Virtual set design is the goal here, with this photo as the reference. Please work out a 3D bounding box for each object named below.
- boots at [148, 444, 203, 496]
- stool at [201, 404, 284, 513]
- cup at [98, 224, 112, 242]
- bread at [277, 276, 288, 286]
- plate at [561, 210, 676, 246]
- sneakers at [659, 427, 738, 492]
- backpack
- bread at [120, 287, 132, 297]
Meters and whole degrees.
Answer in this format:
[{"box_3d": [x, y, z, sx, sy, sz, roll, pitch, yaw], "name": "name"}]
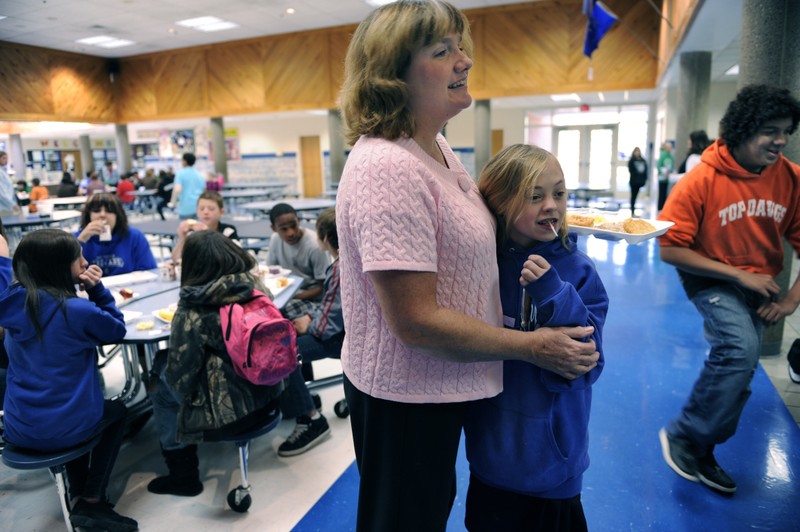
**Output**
[{"box_3d": [-1.411, 1.277, 3.539, 0.338, 0.312, 0.169, 3, 4, -6], "name": "boots"}, {"box_3d": [-0.915, 1.164, 3.603, 0.563, 0.598, 0.527, -3, 2, -16], "name": "stool"}, {"box_3d": [-2.356, -0.254, 4.479, 0.109, 0.132, 0.048, -3, -1, -13], "name": "cup"}, {"box_3d": [-0.882, 0.119, 4.219, 0.079, 0.053, 0.061, 0, -1, 12], "name": "bread"}, {"box_3d": [1.118, -0.199, 2.901, 0.472, 0.068, 0.330, 7, 12, 32], "name": "plate"}, {"box_3d": [1.719, 1.166, 3.363, 0.489, 0.207, 0.166, 26, 11, 12], "name": "sneakers"}, {"box_3d": [-0.811, 0.418, 3.215, 0.390, 0.534, 0.250, -6, 10, -23], "name": "backpack"}, {"box_3d": [-1.962, 0.194, 4.025, 0.068, 0.060, 0.064, -2, 43, -5], "name": "bread"}]
